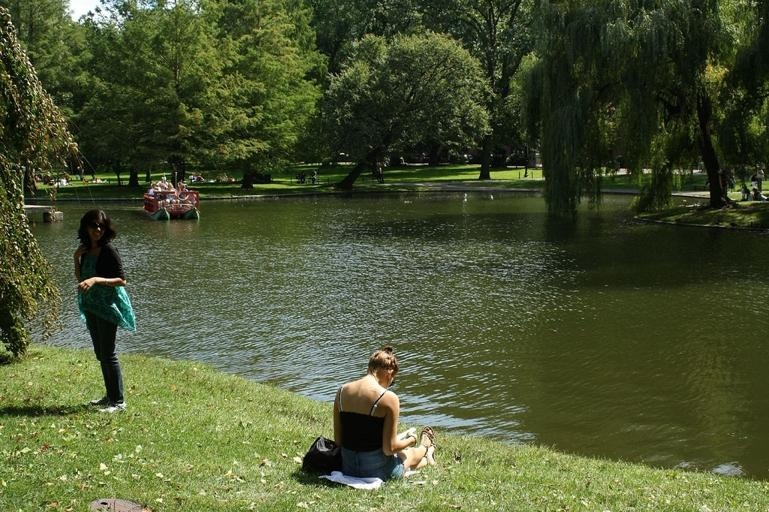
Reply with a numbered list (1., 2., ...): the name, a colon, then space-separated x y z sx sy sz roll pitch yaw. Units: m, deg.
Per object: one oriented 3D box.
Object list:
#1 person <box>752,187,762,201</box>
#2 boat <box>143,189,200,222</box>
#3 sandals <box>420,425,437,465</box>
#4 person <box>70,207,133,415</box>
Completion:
1. person: 19.220 -3.086 47.894 0.345 0.633 1.406 2 15 9
2. boat: -12.051 -2.805 52.083 1.681 1.206 3.132 -1 5 -23
3. sandals: 0.860 3.714 18.221 0.224 0.721 0.291 -1 -5 28
4. person: -5.752 1.137 19.005 1.110 4.083 0.843 6 15 23
